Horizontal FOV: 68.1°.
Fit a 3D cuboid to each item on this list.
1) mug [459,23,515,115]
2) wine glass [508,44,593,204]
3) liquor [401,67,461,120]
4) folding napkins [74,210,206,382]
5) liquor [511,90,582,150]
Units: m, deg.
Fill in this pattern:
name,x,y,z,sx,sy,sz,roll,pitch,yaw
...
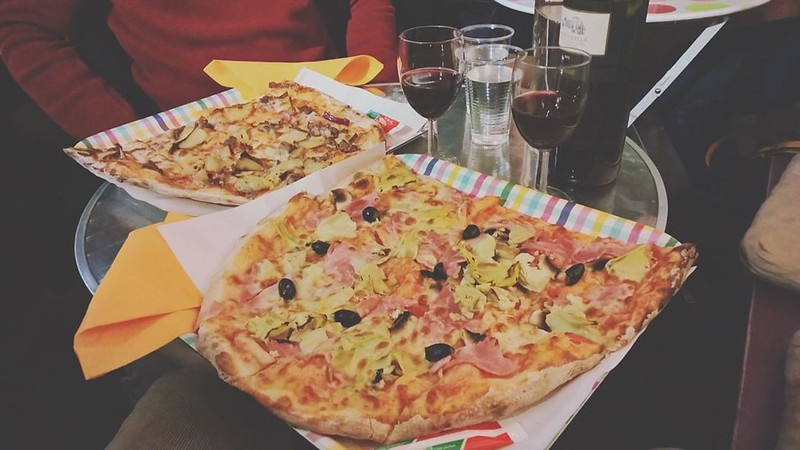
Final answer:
name,x,y,z,sx,sy,sz,roll,pitch,yaw
mug,0.334,-0.629,2.274,0.231,0.163,0.216,0,31,7
wine glass,0.441,-0.362,1.879,0.305,0.643,0.295,0,36,8
liquor,0.110,-0.452,1.998,0.170,0.132,0.171,15,32,33
folding napkins,-0.841,0.229,1.819,0.391,0.130,0.357,-27,62,-11
liquor,0.447,-0.334,1.843,0.187,0.128,0.179,0,38,2
